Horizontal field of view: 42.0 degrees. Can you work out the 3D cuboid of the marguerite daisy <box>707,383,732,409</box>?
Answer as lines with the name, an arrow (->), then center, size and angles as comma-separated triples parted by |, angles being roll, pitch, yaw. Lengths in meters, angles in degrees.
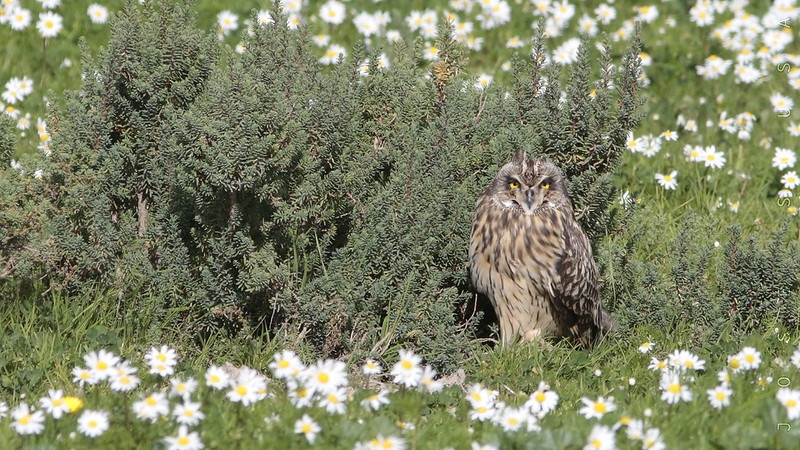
marguerite daisy -> 2.631, 1.403, 8.501 | 0.226, 0.113, 0.184 | -20, 83, -3

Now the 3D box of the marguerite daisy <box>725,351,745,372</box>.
marguerite daisy -> 2.813, 1.147, 8.723 | 0.042, 0.119, 0.121 | -27, 86, 10

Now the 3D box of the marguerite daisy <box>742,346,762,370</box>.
marguerite daisy -> 2.926, 1.111, 8.678 | 0.145, 0.056, 0.174 | 9, 83, 1
